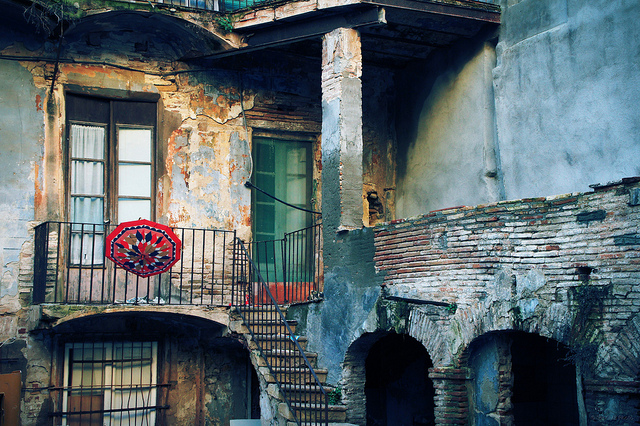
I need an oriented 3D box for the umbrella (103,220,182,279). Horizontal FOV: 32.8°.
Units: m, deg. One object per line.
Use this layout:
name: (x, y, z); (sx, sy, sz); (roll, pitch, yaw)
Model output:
umbrella: (-2.982, 0.567, 17.879); (1.172, 0.506, 1.370); (1, -49, -10)
